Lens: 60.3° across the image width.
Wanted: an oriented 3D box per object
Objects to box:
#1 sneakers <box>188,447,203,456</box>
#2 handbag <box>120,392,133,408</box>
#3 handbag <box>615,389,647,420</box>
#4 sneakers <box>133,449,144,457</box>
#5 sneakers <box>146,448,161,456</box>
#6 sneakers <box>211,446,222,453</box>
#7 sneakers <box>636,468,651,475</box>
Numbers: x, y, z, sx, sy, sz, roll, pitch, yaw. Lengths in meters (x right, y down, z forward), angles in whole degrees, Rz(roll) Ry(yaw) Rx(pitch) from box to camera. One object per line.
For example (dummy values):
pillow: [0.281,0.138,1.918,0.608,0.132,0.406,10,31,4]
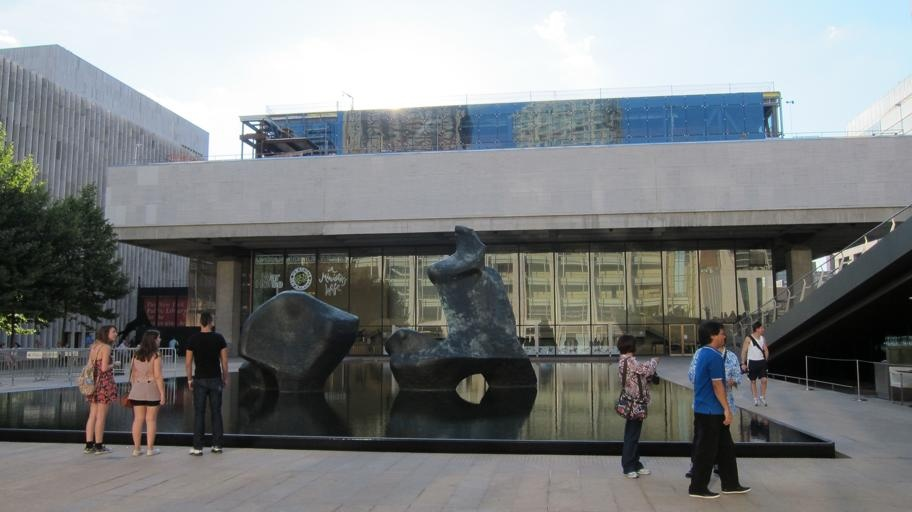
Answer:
sneakers: [-9.056,6.856,27.480,0.479,0.188,0.218,2,-3,29]
handbag: [-11.568,5.120,27.730,0.306,0.537,0.657,-8,16,-28]
handbag: [5.805,5.072,26.554,1.049,0.951,0.840,6,-10,-2]
sneakers: [-11.089,6.878,27.476,0.177,0.154,0.363,0,1,-1]
sneakers: [-10.551,6.870,27.591,0.217,0.177,0.483,0,1,23]
sneakers: [-8.420,6.842,27.689,0.425,0.176,0.178,-3,-3,8]
sneakers: [6.249,7.226,26.283,0.394,0.157,0.171,-2,0,1]
